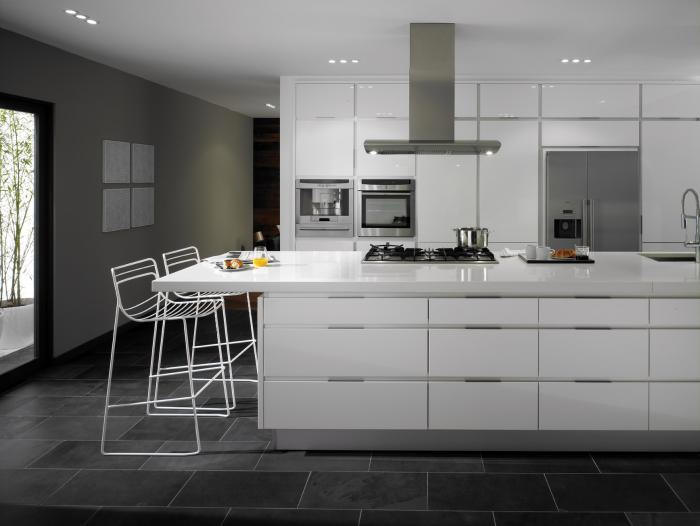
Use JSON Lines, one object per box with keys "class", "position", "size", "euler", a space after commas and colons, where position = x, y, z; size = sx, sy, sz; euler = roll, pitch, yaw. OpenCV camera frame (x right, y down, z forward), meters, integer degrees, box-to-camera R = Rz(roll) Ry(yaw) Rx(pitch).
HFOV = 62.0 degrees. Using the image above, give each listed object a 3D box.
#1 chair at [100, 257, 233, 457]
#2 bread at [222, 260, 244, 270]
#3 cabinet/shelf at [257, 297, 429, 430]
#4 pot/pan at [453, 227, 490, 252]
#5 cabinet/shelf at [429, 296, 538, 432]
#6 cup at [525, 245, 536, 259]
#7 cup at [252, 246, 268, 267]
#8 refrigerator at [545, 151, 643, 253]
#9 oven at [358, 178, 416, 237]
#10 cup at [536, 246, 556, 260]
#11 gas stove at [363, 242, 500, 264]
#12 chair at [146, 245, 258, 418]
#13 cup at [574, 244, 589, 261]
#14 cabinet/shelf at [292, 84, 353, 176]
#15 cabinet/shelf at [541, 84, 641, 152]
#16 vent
{"class": "chair", "position": [-1.506, 0.790, 4.758], "size": [0.503, 0.810, 1.334], "euler": [-1, 2, 0]}
{"class": "bread", "position": [-0.786, 0.004, 3.971], "size": [0.087, 0.031, 0.084], "euler": [3, 6, 19]}
{"class": "cabinet/shelf", "position": [-0.042, 0.693, 4.046], "size": [1.569, 0.996, 0.763], "euler": [0, -1, 2]}
{"class": "pot/pan", "position": [1.016, -0.197, 4.842], "size": [0.245, 0.134, 0.233], "euler": [0, -1, 1]}
{"class": "cabinet/shelf", "position": [0.852, 0.591, 3.653], "size": [0.901, 0.960, 0.544], "euler": [0, 3, 3]}
{"class": "cup", "position": [1.332, -0.079, 4.281], "size": [0.071, 0.098, 0.156], "euler": [2, 11, 10]}
{"class": "cup", "position": [-0.639, -0.048, 4.168], "size": [0.117, 0.144, 0.158], "euler": [0, -3, -8]}
{"class": "refrigerator", "position": [2.722, -0.698, 6.479], "size": [1.073, 1.090, 0.288], "euler": [-1, 11, -2]}
{"class": "oven", "position": [0.302, -0.631, 6.795], "size": [0.788, 0.671, 0.514], "euler": [-3, 5, -30]}
{"class": "cup", "position": [1.433, -0.063, 4.262], "size": [0.126, 0.086, 0.086], "euler": [1, 2, 9]}
{"class": "gas stove", "position": [0.606, -0.076, 4.491], "size": [0.970, 0.052, 0.603], "euler": [0, 11, 4]}
{"class": "chair", "position": [-1.259, 0.636, 4.939], "size": [0.550, 1.000, 1.364], "euler": [-1, 3, 3]}
{"class": "cup", "position": [1.749, -0.067, 4.341], "size": [0.112, 0.116, 0.141], "euler": [1, -2, -1]}
{"class": "cabinet/shelf", "position": [-0.164, -1.523, 6.899], "size": [0.892, 1.010, 0.881], "euler": [8, 9, 35]}
{"class": "cabinet/shelf", "position": [2.862, -1.691, 6.661], "size": [1.138, 0.691, 0.644], "euler": [10, 32, 37]}
{"class": "vent", "position": [0.691, -1.468, 4.942], "size": [1.024, 1.043, 0.283], "euler": [0, 11, 1]}
